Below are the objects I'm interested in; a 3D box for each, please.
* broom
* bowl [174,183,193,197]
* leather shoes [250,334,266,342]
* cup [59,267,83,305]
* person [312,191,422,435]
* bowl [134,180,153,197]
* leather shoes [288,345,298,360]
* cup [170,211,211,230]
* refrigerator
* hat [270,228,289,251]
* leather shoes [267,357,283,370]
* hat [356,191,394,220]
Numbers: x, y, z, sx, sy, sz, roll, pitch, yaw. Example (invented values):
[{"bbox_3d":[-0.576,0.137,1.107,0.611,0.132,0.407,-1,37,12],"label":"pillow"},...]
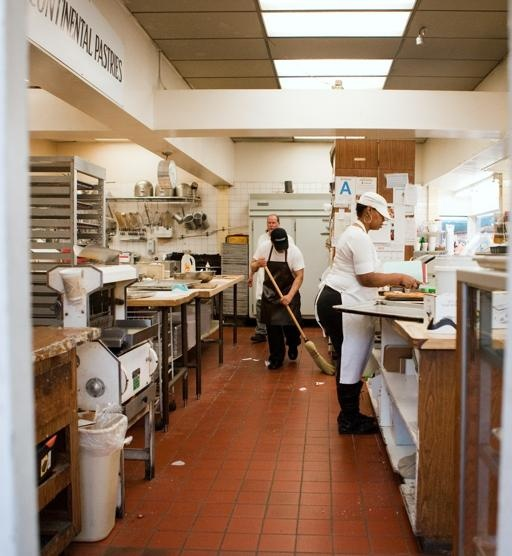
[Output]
[{"bbox_3d":[0.435,0.486,5.327,0.175,1.316,0.188,-33,0,-13],"label":"broom"},{"bbox_3d":[-1.201,-1.414,8.146,0.287,0.266,0.276,-1,9,0],"label":"bowl"},{"bbox_3d":[0.030,0.842,6.995,0.224,0.150,0.081,3,-2,-16],"label":"leather shoes"},{"bbox_3d":[-0.811,0.034,2.191,0.091,0.158,0.085,0,2,0],"label":"cup"},{"bbox_3d":[0.716,0.246,3.408,0.578,1.678,0.499,0,2,-1],"label":"person"},{"bbox_3d":[-1.801,-1.418,7.929,0.278,0.295,0.270,-1,2,0],"label":"bowl"},{"bbox_3d":[0.441,0.858,5.807,0.104,0.165,0.162,-1,11,8],"label":"leather shoes"},{"bbox_3d":[-1.073,-0.957,8.408,0.468,0.293,0.415,-15,-29,13],"label":"cup"},{"bbox_3d":[0.582,-0.323,8.227,1.334,2.119,0.668,0,-11,4],"label":"refrigerator"},{"bbox_3d":[0.239,-0.396,5.063,0.178,0.248,0.274,0,2,2],"label":"hat"},{"bbox_3d":[0.197,0.930,5.432,0.162,0.099,0.074,-11,8,-17],"label":"leather shoes"},{"bbox_3d":[0.806,-0.517,3.384,0.283,0.142,0.185,26,11,-9],"label":"hat"}]
